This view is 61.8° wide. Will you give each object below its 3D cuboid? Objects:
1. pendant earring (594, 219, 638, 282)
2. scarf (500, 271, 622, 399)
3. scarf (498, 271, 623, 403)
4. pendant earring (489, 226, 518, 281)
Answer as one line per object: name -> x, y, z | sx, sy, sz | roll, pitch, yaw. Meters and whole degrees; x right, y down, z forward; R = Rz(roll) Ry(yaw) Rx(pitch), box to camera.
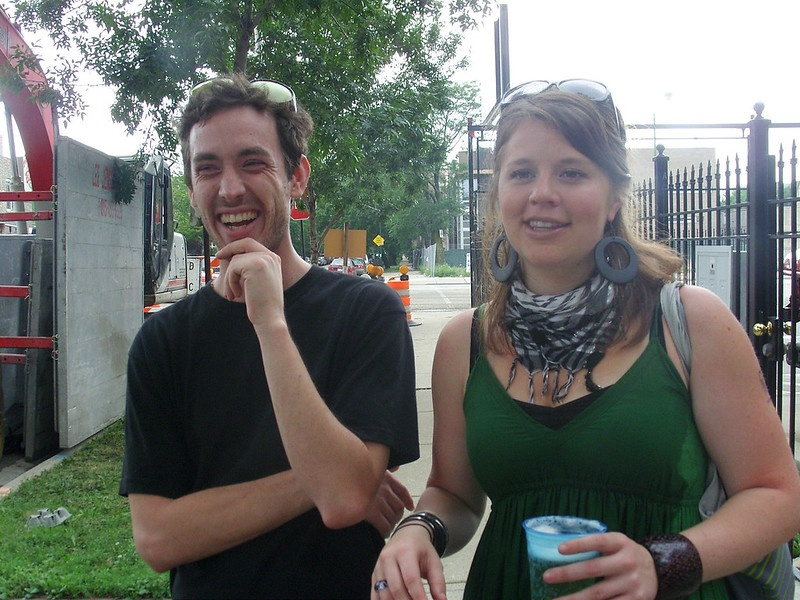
pendant earring -> 0.824, -0.182, 2.483 | 0.151, 0.182, 0.035 | -4, -14, -10
scarf -> 0.629, 0.143, 2.519 | 0.386, 0.518, 0.145 | -4, -20, 37
scarf -> 0.628, 0.152, 2.517 | 0.413, 0.556, 0.157 | -1, -18, 34
pendant earring -> 0.425, -0.185, 2.698 | 0.164, 0.297, 0.029 | -19, -37, 40
